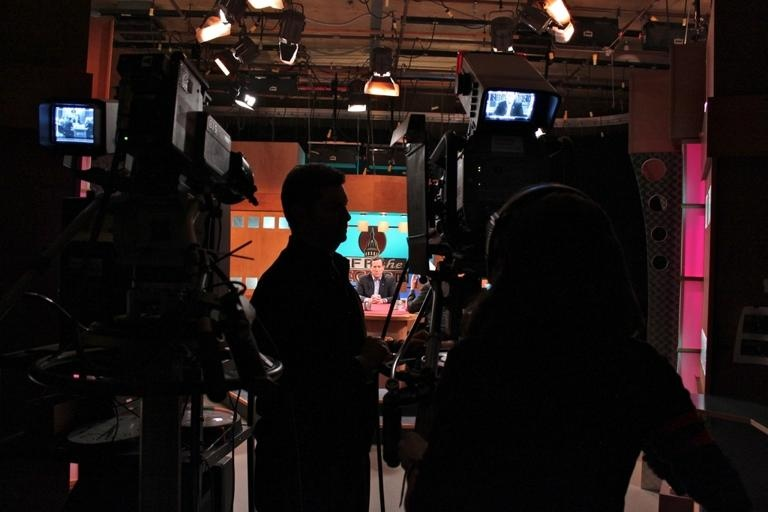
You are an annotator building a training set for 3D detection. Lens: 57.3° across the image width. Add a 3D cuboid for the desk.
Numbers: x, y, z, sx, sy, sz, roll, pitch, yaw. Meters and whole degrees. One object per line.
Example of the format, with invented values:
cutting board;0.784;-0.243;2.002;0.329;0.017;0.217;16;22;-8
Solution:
desk;0.015;0.651;6.384;0.635;0.871;0.950;1;-5;7
